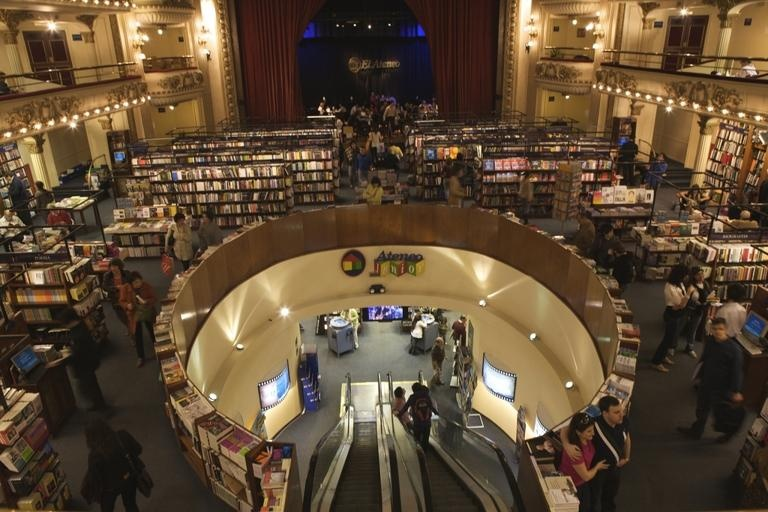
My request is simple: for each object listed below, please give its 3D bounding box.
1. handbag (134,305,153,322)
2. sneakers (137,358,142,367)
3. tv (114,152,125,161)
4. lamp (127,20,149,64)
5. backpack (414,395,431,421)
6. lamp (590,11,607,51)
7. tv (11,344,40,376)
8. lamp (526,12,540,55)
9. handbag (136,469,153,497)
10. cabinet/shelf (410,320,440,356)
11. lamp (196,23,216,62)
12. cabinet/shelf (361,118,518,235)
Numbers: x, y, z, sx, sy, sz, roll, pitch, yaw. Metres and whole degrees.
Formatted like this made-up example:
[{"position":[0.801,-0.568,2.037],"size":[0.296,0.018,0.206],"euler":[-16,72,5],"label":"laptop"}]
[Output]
[{"position":[-4.699,1.087,9.783],"size":[0.241,0.320,0.199],"euler":[7,56,-14],"label":"handbag"},{"position":[-4.777,2.063,9.850],"size":[0.094,0.141,0.084],"euler":[-3,17,-6],"label":"sneakers"},{"position":[-9.450,-3.579,17.932],"size":[0.264,0.228,0.145],"euler":[-1,21,-8],"label":"tv"},{"position":[-9.106,-7.876,18.505],"size":[0.519,1.404,1.314],"euler":[-9,19,-22],"label":"lamp"},{"position":[0.698,2.784,9.268],"size":[0.387,0.533,0.287],"euler":[-1,17,-2],"label":"backpack"},{"position":[7.986,-8.417,18.856],"size":[0.670,1.421,2.364],"euler":[5,19,21],"label":"lamp"},{"position":[-5.854,1.697,8.173],"size":[0.133,0.355,0.410],"euler":[-13,19,17],"label":"tv"},{"position":[6.011,-9.101,20.600],"size":[0.335,1.409,0.764],"euler":[-6,18,-14],"label":"lamp"},{"position":[-3.386,3.162,7.094],"size":[0.151,0.398,0.275],"euler":[-5,17,-32],"label":"handbag"},{"position":[1.190,2.393,14.657],"size":[0.647,1.223,0.645],"euler":[-13,23,-42],"label":"cabinet/shelf"},{"position":[-7.213,-8.663,20.362],"size":[0.610,1.394,0.559],"euler":[-11,20,-29],"label":"lamp"},{"position":[2.015,-2.736,16.728],"size":[2.942,2.021,4.386],"euler":[-1,22,-2],"label":"cabinet/shelf"}]
